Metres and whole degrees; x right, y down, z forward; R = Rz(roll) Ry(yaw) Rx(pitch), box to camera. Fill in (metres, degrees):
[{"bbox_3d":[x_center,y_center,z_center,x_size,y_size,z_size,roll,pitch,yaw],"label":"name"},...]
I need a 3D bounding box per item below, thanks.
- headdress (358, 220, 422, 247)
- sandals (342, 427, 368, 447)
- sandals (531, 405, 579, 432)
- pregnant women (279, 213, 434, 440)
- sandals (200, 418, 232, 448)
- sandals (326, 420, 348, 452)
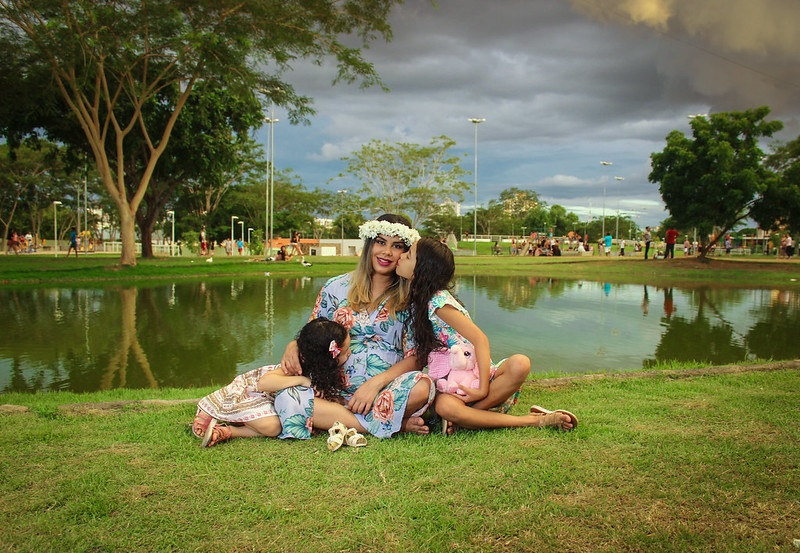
[{"bbox_3d":[-0.124,-0.465,6.187,0.405,0.165,0.370,6,-1,21],"label":"headdress"},{"bbox_3d":[-0.452,1.611,5.995,0.127,0.079,0.227,-3,4,-33],"label":"sandals"},{"bbox_3d":[1.592,1.454,6.256,0.485,0.202,0.138,9,15,33],"label":"sandals"},{"bbox_3d":[-0.425,0.469,6.259,1.450,2.226,1.246,6,12,-1],"label":"pregnant women"},{"bbox_3d":[-1.863,1.565,6.045,0.302,0.283,0.098,-2,0,-42],"label":"sandals"},{"bbox_3d":[-0.640,1.592,5.973,0.130,0.099,0.284,-18,25,14],"label":"sandals"}]
